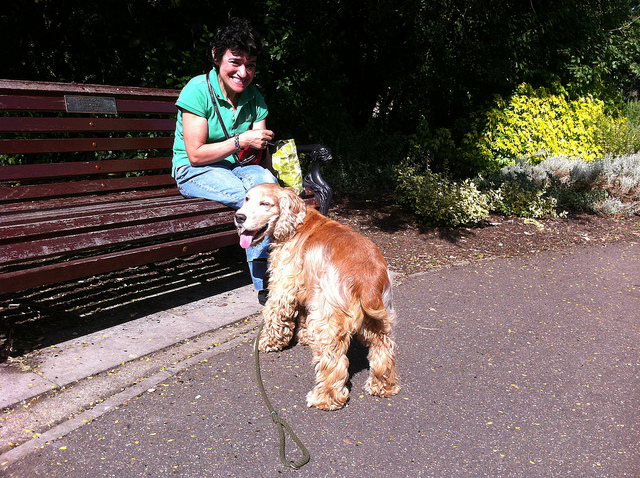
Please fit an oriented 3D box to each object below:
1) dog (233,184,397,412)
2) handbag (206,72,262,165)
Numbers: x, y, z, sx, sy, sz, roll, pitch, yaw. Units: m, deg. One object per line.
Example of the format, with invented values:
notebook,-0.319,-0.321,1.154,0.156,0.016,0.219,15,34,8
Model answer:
dog,-0.017,0.356,3.586,0.843,1.424,1.355,-15,22,-41
handbag,-0.805,-1.115,4.511,0.474,0.934,0.488,6,11,13
